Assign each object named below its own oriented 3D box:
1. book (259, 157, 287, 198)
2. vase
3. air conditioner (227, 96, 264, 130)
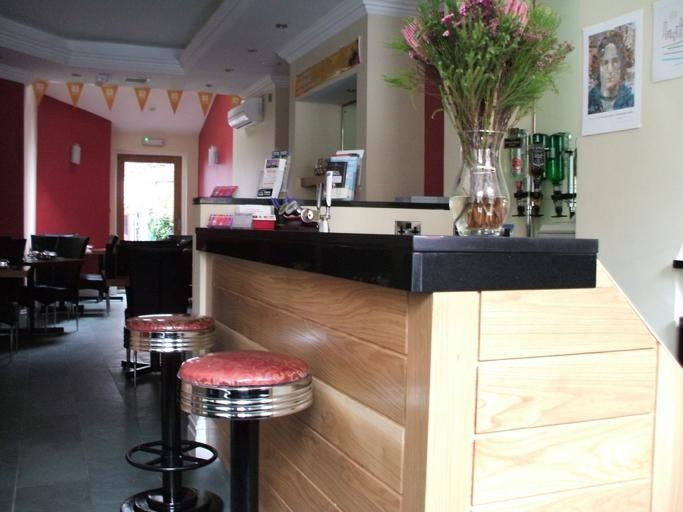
[{"bbox_3d":[-0.405,-0.469,3.197,0.148,0.253,0.272,1,3,-21],"label":"book"},{"bbox_3d":[0.419,-0.218,1.600,0.170,0.311,0.076,3,3,14],"label":"vase"},{"bbox_3d":[-1.403,-2.154,7.888,0.235,0.426,0.806,0,4,-31],"label":"air conditioner"}]
